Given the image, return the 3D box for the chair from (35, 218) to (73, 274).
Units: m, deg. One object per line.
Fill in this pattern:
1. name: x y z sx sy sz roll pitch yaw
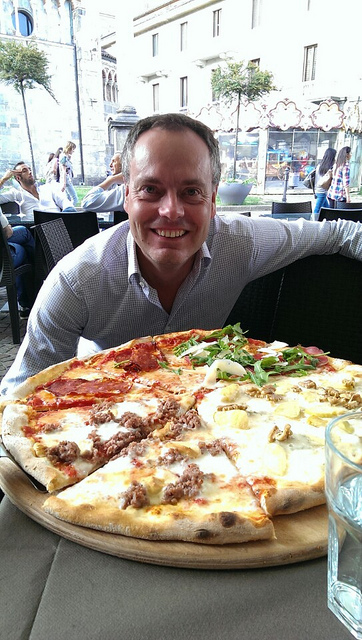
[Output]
1. chair: -0.781 -0.454 2.691 0.153 0.318 0.416 -3 13 -10

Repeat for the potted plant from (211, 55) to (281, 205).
1. potted plant: 1.217 -4.144 9.680 1.501 3.139 1.422 -6 16 -25

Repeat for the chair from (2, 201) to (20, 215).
1. chair: -2.435 -1.595 6.205 0.131 0.185 0.380 2 13 15
